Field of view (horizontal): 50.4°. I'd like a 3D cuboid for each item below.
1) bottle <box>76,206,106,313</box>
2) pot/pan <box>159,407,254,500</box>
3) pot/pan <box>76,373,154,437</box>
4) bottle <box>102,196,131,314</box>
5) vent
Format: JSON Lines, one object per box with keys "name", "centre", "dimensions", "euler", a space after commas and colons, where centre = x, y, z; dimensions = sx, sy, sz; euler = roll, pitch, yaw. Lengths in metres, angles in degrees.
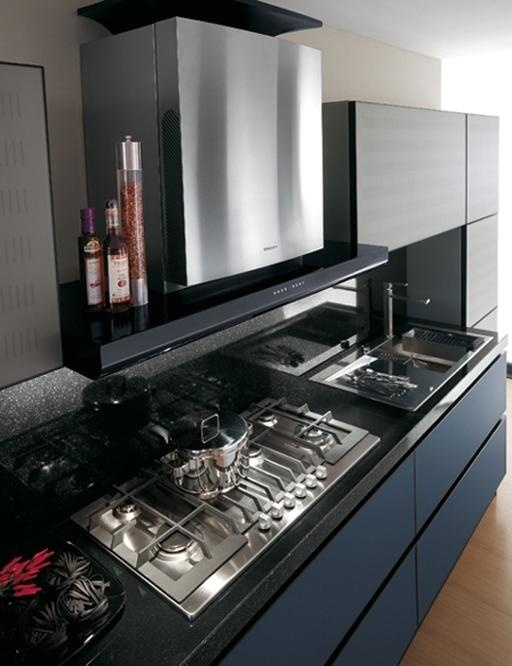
{"name": "bottle", "centre": [-0.328, -0.142, 1.078], "dimensions": [0.045, 0.201, 0.061], "euler": [-10, 15, -16]}
{"name": "pot/pan", "centre": [-0.152, 0.331, 1.622], "dimensions": [0.210, 0.197, 0.296], "euler": [10, 21, 32]}
{"name": "pot/pan", "centre": [-0.389, 0.199, 1.557], "dimensions": [0.041, 0.165, 0.170], "euler": [-5, 19, 41]}
{"name": "bottle", "centre": [-0.292, -0.159, 1.112], "dimensions": [0.059, 0.217, 0.111], "euler": [-9, 15, -13]}
{"name": "vent", "centre": [-0.170, -0.367, 1.318], "dimensions": [0.407, 0.657, 0.888], "euler": [7, 19, 39]}
